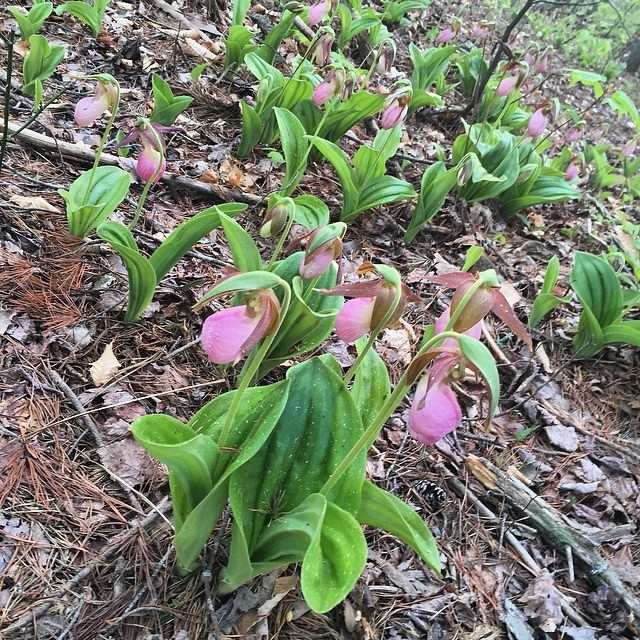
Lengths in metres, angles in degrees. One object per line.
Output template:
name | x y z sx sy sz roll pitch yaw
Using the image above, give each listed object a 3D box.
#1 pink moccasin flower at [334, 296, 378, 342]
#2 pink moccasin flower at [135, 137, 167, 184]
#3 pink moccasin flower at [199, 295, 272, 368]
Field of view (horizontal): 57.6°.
pink moccasin flower | 0.130 -0.003 2.251 0.043 0.179 0.158 -44 120 -72
pink moccasin flower | -0.918 -0.881 3.123 0.166 0.296 0.126 -7 32 -14
pink moccasin flower | -0.308 0.039 2.121 0.183 0.310 0.134 57 1 -5
